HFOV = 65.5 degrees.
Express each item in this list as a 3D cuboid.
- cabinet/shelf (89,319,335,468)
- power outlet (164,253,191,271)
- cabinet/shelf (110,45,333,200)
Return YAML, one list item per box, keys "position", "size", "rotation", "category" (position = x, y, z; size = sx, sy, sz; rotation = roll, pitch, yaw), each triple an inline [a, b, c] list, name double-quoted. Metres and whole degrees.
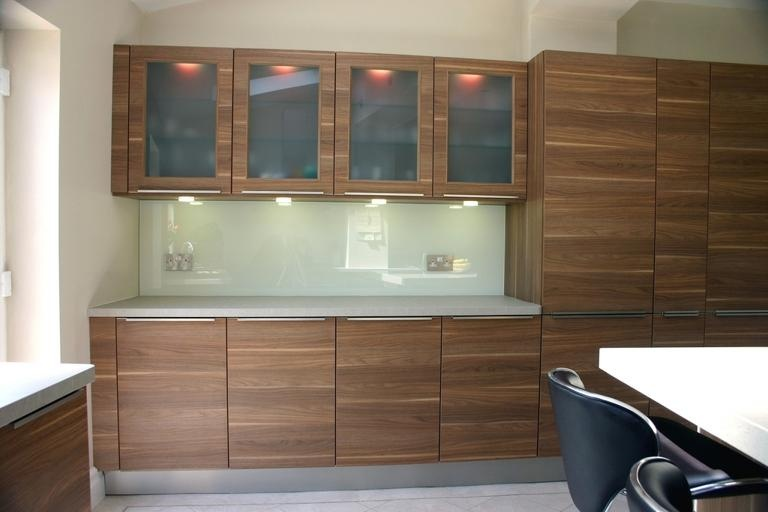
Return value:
- position: [-1.124, 0.849, 4.165]
  size: [1.540, 1.125, 0.903]
  rotation: [0, -2, -7]
  category: "cabinet/shelf"
- position: [-1.446, 0.036, 4.226]
  size: [0.258, 0.129, 0.120]
  rotation: [1, 1, -1]
  category: "power outlet"
- position: [-1.152, -0.889, 4.150]
  size: [0.990, 1.005, 0.794]
  rotation: [12, 14, 36]
  category: "cabinet/shelf"
